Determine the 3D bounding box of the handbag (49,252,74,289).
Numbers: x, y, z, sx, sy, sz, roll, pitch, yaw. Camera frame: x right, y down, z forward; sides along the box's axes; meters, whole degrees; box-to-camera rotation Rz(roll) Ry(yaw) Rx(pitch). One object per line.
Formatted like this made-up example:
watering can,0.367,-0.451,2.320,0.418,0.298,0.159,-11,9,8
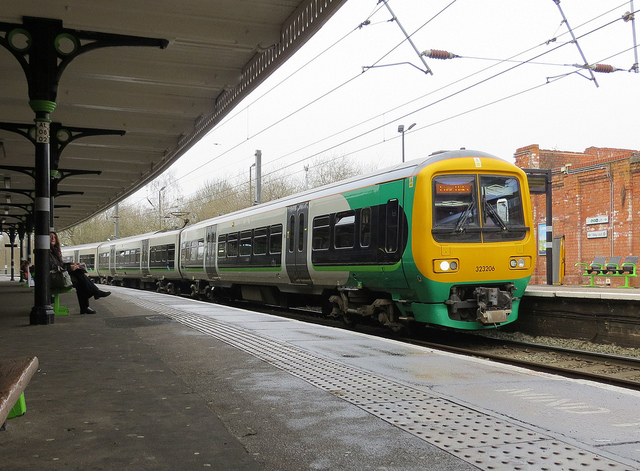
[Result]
handbag,-6.028,0.840,11.234,0.446,0.796,0.531,3,-4,-28

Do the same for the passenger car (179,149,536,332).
passenger car,-1.315,0.597,17.627,2.767,4.205,18.503,3,-4,-32

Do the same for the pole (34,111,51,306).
pole,-5.797,-0.394,10.118,0.474,4.286,0.483,0,2,-14
